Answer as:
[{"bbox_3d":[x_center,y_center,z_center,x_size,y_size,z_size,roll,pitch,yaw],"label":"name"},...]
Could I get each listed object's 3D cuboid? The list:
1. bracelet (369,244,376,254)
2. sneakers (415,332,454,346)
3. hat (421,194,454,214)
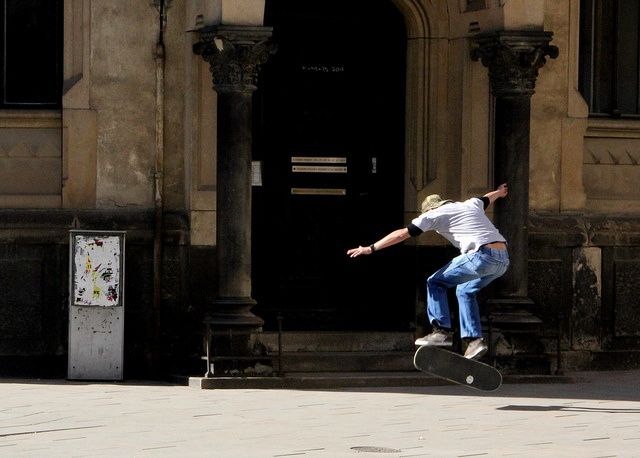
[{"bbox_3d":[0.615,0.177,18.074,0.073,0.040,0.100,3,44,5],"label":"bracelet"},{"bbox_3d":[1.375,1.278,18.511,0.485,0.210,0.166,4,-2,-1],"label":"sneakers"},{"bbox_3d":[1.404,-0.329,18.574,0.312,0.123,0.234,-29,-4,20],"label":"hat"}]
